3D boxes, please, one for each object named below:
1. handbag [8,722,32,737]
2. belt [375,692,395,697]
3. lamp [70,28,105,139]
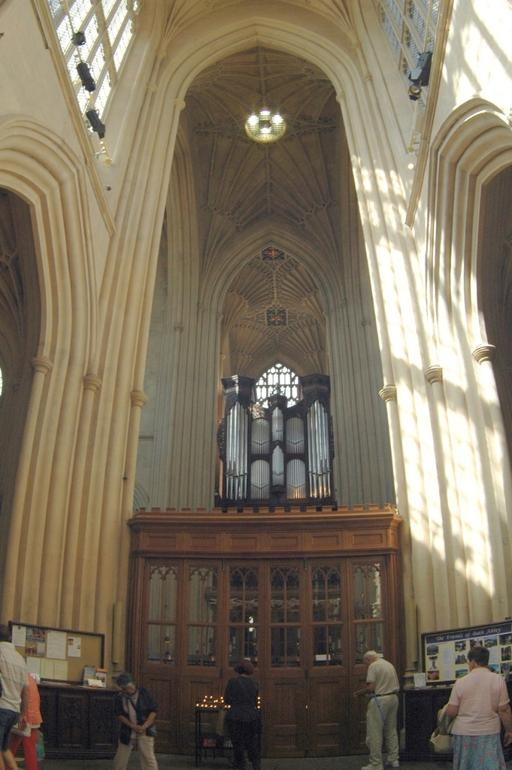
[{"bbox_3d":[-1.324,1.929,3.554,0.084,0.036,0.096,29,-36,-31],"label":"handbag"},{"bbox_3d":[1.081,2.591,5.284,0.156,0.029,0.043,7,-24,-18],"label":"belt"},{"bbox_3d":[-2.281,-4.002,8.481,0.260,1.463,0.255,-11,-3,-4],"label":"lamp"}]
